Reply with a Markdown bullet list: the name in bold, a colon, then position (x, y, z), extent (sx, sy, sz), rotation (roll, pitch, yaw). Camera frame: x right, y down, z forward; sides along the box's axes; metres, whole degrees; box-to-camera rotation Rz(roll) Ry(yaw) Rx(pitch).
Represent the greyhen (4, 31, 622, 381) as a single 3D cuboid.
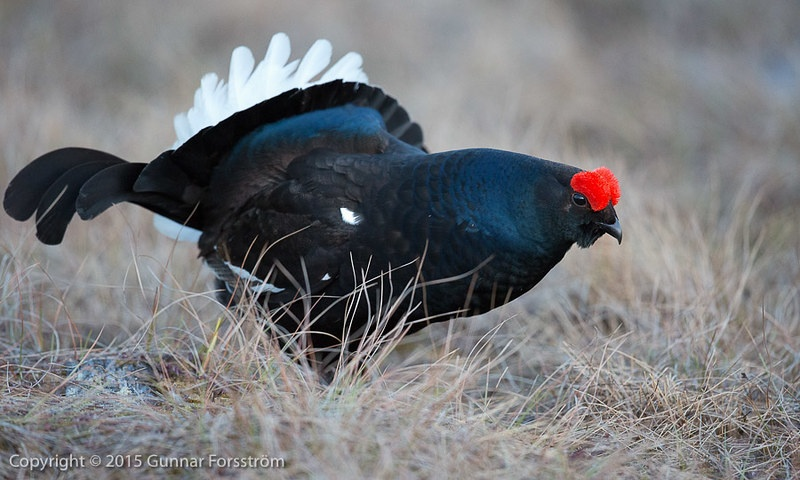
- **greyhen**: position (-0.749, -0.432, 8.530), extent (5.623, 2.975, 3.049), rotation (15, 7, 13)
